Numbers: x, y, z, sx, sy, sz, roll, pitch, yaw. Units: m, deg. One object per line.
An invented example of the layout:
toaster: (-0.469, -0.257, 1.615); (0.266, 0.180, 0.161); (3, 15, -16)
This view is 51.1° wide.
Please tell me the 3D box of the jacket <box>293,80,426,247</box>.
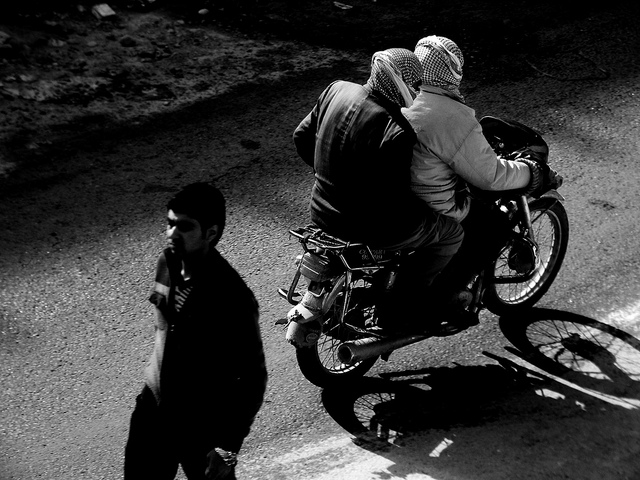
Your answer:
jacket: (0.293, -0.493, 4.571); (0.766, 1.098, 0.345); (14, 26, 25)

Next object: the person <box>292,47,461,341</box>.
person: (0.464, -0.228, 4.743); (1.069, 2.179, 0.549); (2, 24, -1)
